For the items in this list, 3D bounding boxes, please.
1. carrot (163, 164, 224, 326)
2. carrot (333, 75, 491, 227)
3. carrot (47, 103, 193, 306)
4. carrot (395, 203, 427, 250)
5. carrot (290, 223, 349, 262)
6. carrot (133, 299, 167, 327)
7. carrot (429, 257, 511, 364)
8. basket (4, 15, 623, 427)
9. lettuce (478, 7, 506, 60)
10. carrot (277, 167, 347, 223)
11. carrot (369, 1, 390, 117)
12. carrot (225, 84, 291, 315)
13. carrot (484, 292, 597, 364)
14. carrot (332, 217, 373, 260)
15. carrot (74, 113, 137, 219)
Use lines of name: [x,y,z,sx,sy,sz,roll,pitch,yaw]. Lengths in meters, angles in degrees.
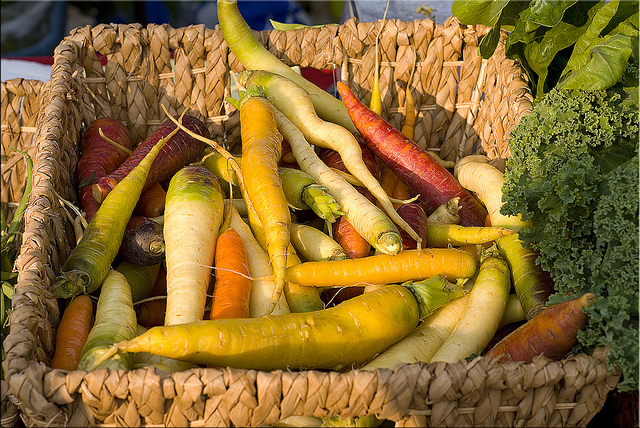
carrot: [-0.489,0.098,2.288,0.173,0.169,0.672,4,51,-7]
carrot: [0.432,-0.298,2.697,0.860,0.146,0.167,49,24,10]
carrot: [-0.744,-0.027,2.191,0.175,0.130,0.737,32,58,-14]
carrot: [0.396,0.039,2.450,0.099,0.102,0.219,0,39,4]
carrot: [-0.029,0.137,2.428,0.120,0.124,0.371,-17,22,-33]
carrot: [-0.650,0.382,2.256,0.086,0.065,0.108,2,1,8]
carrot: [0.587,0.376,2.195,0.142,0.118,0.489,15,65,35]
basket: [-0.261,0.078,2.492,1.893,0.605,1.986,2,48,-1]
lettuce: [0.842,-0.859,2.790,0.069,0.273,0.054,27,-10,-28]
carrot: [-0.058,-0.106,2.445,0.129,0.127,0.398,-37,49,-15]
carrot: [0.312,-0.763,2.908,0.071,0.644,0.074,2,-3,31]
carrot: [-0.260,-0.132,2.350,0.135,0.185,0.948,10,57,-28]
carrot: [0.792,0.418,2.029,0.137,0.472,0.141,-13,66,-26]
carrot: [0.132,0.107,2.429,0.078,0.101,0.199,-15,41,-20]
carrot: [-0.966,-0.251,2.621,0.167,0.167,0.562,45,27,-31]
